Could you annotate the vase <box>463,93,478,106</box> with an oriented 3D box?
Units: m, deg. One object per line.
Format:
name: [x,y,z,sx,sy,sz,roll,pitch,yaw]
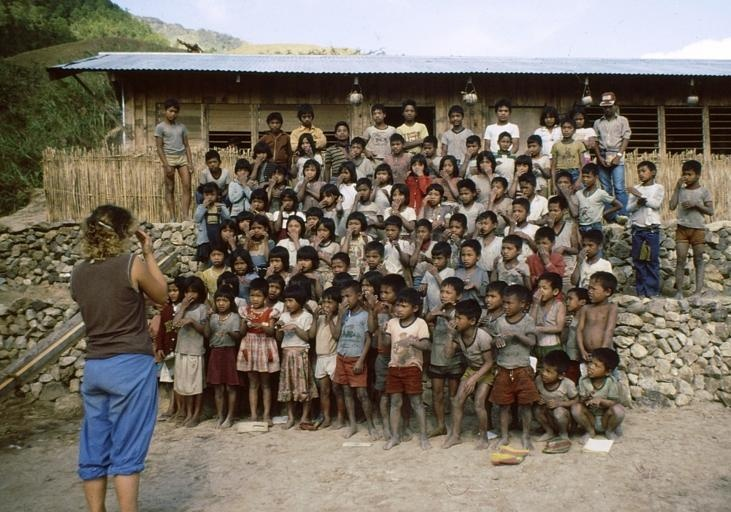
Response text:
vase: [2.242,-3.257,13.856,0.282,0.243,0.287,10,6,-6]

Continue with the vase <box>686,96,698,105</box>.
vase: [7.169,-3.398,14.374,0.203,0.221,0.149,1,0,3]

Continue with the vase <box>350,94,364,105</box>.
vase: [-0.209,-3.265,13.798,0.229,0.184,0.250,1,21,-2]
